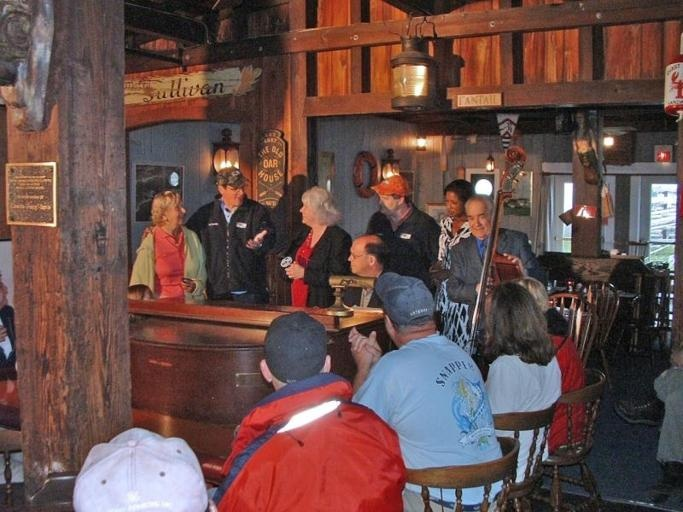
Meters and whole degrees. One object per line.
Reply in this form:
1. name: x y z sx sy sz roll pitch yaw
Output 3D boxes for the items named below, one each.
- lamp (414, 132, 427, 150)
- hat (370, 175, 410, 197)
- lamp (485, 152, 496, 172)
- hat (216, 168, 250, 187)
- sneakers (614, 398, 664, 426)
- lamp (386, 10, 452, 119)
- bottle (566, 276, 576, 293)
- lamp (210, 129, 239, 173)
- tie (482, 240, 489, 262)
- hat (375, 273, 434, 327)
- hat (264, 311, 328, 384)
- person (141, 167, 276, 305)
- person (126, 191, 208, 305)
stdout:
1. lamp: 1.202 -1.665 10.829 0.158 0.181 0.251 2 1 7
2. hat: 0.419 -0.537 5.735 0.217 0.125 0.162 2 10 -13
3. lamp: 2.242 -1.396 10.965 0.132 0.274 0.332 0 3 17
4. hat: -0.869 -0.621 5.847 0.197 0.113 0.149 4 12 39
5. sneakers: 2.121 1.090 5.331 0.369 0.175 0.148 7 25 12
6. lamp: 0.579 -1.438 5.451 0.398 0.737 0.632 -1 3 10
7. bottle: 2.242 0.276 7.153 0.112 0.199 0.116 0 -1 0
8. lamp: -1.346 -1.243 8.647 0.273 0.554 0.692 -2 3 -11
9. tie: 0.944 -0.031 4.796 0.025 0.126 0.132 9 23 13
10. hat: 0.267 0.182 3.141 0.159 0.127 0.254 -14 47 -13
11. hat: -0.159 0.327 2.702 0.170 0.115 0.261 -1 29 0
12. person: -1.061 0.031 6.130 1.048 1.514 0.707 3 16 7
13. person: -1.286 -0.103 5.493 0.538 0.766 0.340 -2 3 -13
